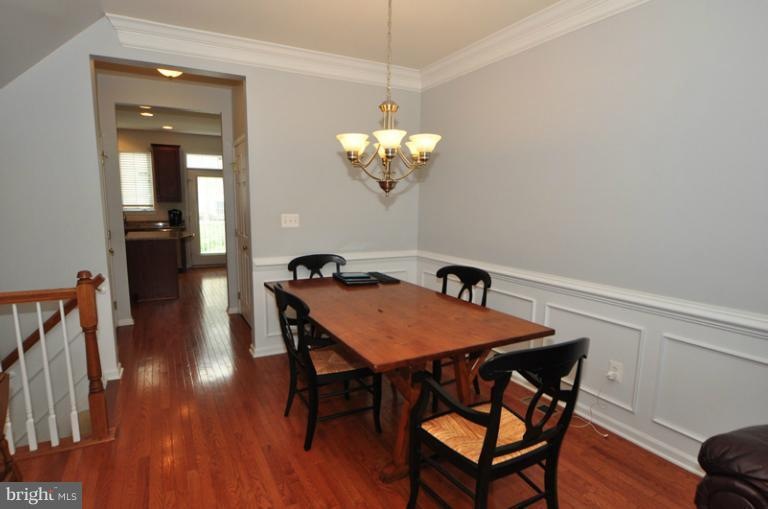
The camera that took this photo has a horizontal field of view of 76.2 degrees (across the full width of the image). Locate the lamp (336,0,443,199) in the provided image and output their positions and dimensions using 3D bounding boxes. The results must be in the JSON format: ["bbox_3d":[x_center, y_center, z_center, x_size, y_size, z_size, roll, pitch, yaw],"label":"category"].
[{"bbox_3d":[0.031,-1.404,4.708,0.902,1.634,1.801,-2,8,1],"label":"lamp"}]

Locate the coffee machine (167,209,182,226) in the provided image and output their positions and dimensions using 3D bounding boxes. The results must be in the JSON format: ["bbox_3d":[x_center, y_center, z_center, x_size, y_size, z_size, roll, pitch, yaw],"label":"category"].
[{"bbox_3d":[-4.176,-0.731,9.775,0.274,0.340,0.334,-5,8,-22],"label":"coffee machine"}]
